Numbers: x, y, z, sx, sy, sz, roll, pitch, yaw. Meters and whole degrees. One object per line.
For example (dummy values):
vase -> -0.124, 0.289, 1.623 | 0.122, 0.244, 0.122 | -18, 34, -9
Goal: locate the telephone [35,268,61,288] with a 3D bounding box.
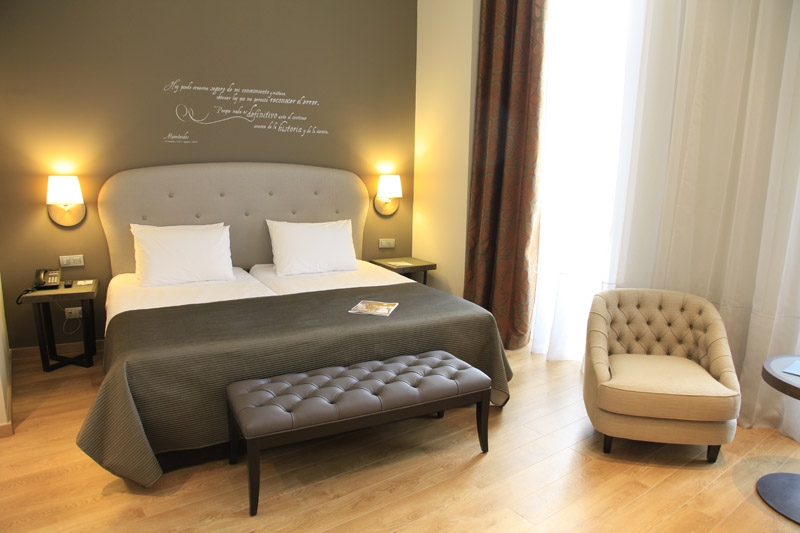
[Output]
telephone -> -2.972, 0.111, 4.472 | 0.176, 0.140, 0.208 | -9, 12, -23

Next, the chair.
chair -> 1.821, 0.761, 3.791 | 0.957, 1.075, 0.799 | -1, 13, 17

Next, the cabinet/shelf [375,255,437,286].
cabinet/shelf -> 0.041, -0.008, 5.705 | 0.411, 0.366, 0.389 | -9, 18, -34

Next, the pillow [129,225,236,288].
pillow -> -1.912, -0.067, 4.580 | 0.616, 0.373, 0.201 | 0, -15, -23

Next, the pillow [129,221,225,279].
pillow -> -1.941, -0.115, 4.593 | 0.574, 0.351, 0.186 | 0, -14, -24
